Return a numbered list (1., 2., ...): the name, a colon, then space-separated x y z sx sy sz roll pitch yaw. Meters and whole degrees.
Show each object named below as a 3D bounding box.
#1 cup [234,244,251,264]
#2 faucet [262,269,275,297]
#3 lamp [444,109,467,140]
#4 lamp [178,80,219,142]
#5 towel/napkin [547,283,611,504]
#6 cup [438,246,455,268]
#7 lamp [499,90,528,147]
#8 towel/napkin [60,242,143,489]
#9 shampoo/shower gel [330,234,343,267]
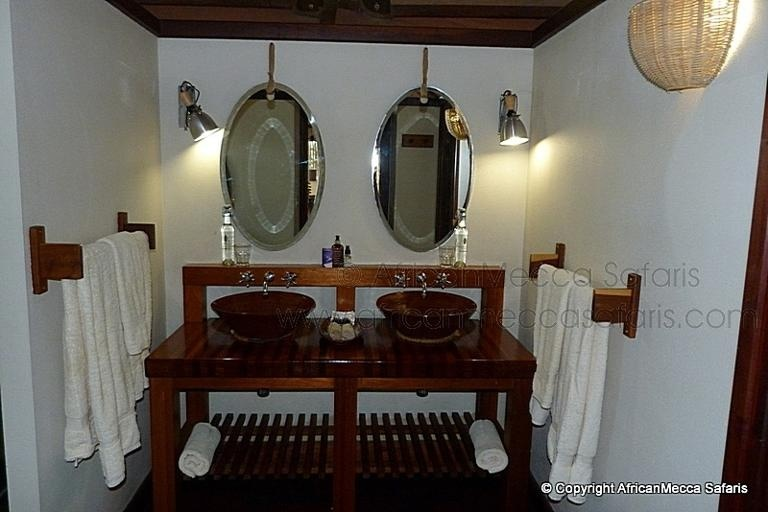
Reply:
1. cup: -0.795 -0.011 3.406 0.098 0.113 0.101 -1 4 0
2. faucet: -0.644 0.141 3.309 0.049 0.162 0.057 2 15 0
3. lamp: 0.416 -0.766 3.420 0.121 0.166 0.033 -1 12 -9
4. lamp: -1.034 -0.812 3.299 0.224 0.331 0.201 -2 7 -14
5. towel/napkin: 0.839 0.618 2.717 0.207 0.975 0.289 -3 7 -21
6. cup: 0.367 -0.003 3.521 0.106 0.120 0.102 0 13 0
7. lamp: 0.704 -0.777 3.315 0.136 0.282 0.242 -2 7 -13
8. towel/napkin: -1.279 0.493 2.771 0.193 1.118 0.445 2 7 19
9. shampoo/shower gel: -0.265 -0.036 3.408 0.068 0.169 0.146 -1 7 -4
